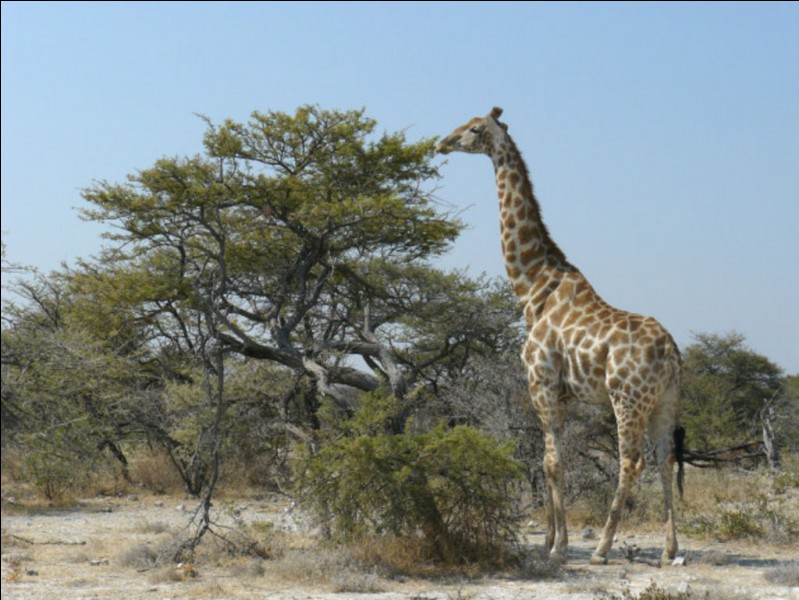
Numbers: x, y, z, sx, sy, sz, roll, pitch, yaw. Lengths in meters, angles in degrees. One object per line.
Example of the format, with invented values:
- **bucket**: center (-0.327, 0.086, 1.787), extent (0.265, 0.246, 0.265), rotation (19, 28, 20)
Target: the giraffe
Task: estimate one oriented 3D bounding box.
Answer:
- **giraffe**: center (3.665, 0.578, 23.398), extent (4.166, 9.236, 1.544), rotation (-1, 0, 38)
